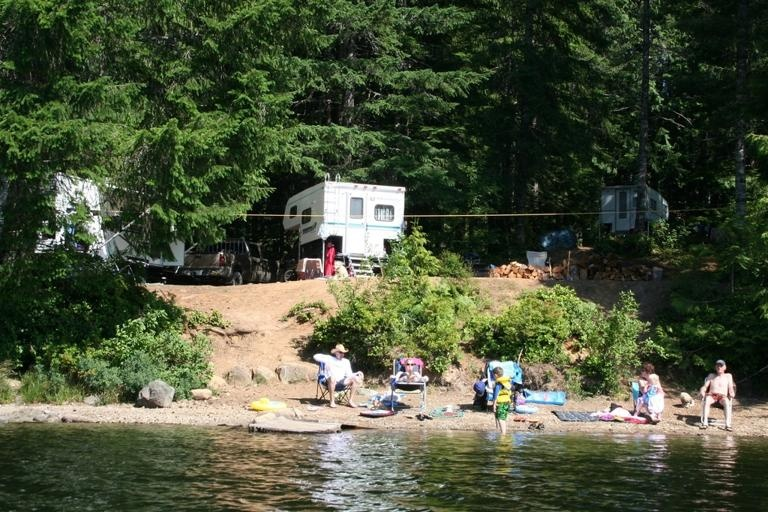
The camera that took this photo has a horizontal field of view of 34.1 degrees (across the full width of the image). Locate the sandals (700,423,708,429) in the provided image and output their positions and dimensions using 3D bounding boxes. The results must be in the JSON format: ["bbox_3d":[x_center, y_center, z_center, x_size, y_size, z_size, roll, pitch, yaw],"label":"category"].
[{"bbox_3d":[9.081,4.841,35.680,0.146,0.148,0.370,3,2,16],"label":"sandals"}]

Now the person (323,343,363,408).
[{"bbox_3d":[-1.148,3.470,36.554,0.968,1.802,0.973,2,0,4],"label":"person"}]

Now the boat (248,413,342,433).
[{"bbox_3d":[-2.449,4.582,34.265,2.404,0.472,1.109,0,-4,-1],"label":"boat"}]

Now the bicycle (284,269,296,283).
[{"bbox_3d":[-3.568,0.731,47.914,0.458,0.410,0.739,0,-4,-4],"label":"bicycle"}]

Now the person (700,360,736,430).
[{"bbox_3d":[9.578,3.954,36.209,0.884,2.210,0.900,0,-1,-1],"label":"person"}]

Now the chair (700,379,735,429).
[{"bbox_3d":[9.552,4.186,36.046,0.914,1.509,0.980,-1,-4,13],"label":"chair"}]

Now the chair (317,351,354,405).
[{"bbox_3d":[-1.424,3.601,36.357,1.268,1.757,1.004,5,-9,-8],"label":"chair"}]

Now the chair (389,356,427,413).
[{"bbox_3d":[0.713,3.756,36.435,1.074,1.542,1.510,0,-4,1],"label":"chair"}]

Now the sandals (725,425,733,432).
[{"bbox_3d":[9.782,4.890,35.629,0.207,0.159,0.267,-1,-4,15],"label":"sandals"}]
